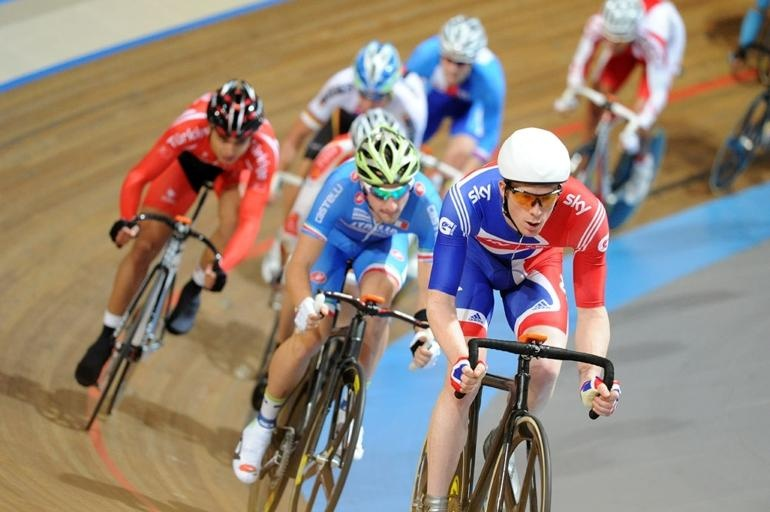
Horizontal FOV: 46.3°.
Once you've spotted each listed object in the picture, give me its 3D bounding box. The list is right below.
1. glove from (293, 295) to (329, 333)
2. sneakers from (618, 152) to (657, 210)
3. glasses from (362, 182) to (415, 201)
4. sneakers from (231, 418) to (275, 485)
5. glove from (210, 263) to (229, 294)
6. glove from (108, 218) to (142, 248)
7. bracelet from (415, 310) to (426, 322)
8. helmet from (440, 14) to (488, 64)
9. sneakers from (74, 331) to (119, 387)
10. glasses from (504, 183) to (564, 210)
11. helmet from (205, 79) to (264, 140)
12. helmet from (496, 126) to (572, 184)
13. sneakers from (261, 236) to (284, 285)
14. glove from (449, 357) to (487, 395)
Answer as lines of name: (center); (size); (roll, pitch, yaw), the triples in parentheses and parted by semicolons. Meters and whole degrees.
glove: (-0.434, 0.320, 5.054); (0.079, 0.212, 0.160); (29, 14, -40)
sneakers: (2.091, -0.624, 7.564); (0.192, 0.574, 0.232); (26, 3, -9)
glasses: (-0.002, -0.376, 5.092); (0.247, 0.120, 0.066); (10, -22, 1)
sneakers: (-0.786, 1.160, 5.381); (0.162, 0.490, 0.207); (19, -33, -15)
glove: (-1.031, 0.138, 5.553); (0.087, 0.144, 0.217); (11, -23, -3)
glove: (-1.574, -0.149, 5.460); (0.158, 0.195, 0.183); (17, -24, -17)
bracelet: (0.190, 0.328, 4.997); (0.057, 0.044, 0.057); (10, -22, -26)
helmet: (0.582, -1.655, 6.886); (0.305, 0.382, 0.339); (6, -11, -3)
sneakers: (-1.808, 0.626, 5.629); (0.172, 0.339, 0.235); (20, -25, -23)
glasses: (0.742, -0.312, 4.607); (0.276, 0.133, 0.076); (6, -23, 9)
helmet: (-0.904, -0.893, 5.467); (0.337, 0.373, 0.167); (15, -23, -11)
helmet: (0.788, -0.543, 4.773); (0.389, 0.293, 0.583); (-1, 10, 5)
sneakers: (-0.836, -0.011, 6.775); (0.139, 0.444, 0.188); (13, -48, -10)
glove: (0.399, 0.619, 4.573); (0.156, 0.210, 0.065); (19, 8, -45)
